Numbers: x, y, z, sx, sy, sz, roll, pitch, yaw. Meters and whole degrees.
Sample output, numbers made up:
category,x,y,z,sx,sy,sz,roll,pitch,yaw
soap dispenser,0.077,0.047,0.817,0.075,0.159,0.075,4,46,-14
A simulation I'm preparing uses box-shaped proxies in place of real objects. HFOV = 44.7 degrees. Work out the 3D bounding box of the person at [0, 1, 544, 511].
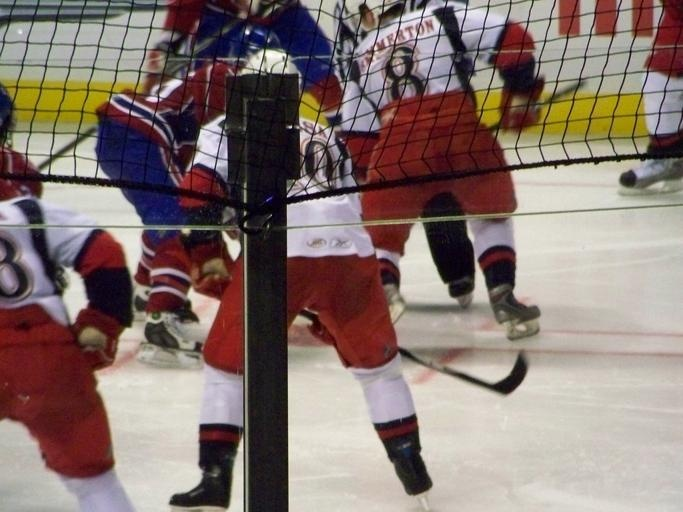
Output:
category,x,y,z,sx,sy,sz,roll,pitch,yaw
person,-0.413,0.003,2.468,1.120,1.412,0.668,1,4,18

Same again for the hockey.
category,x,y,z,sx,sy,sz,roll,pitch,yaw
hockey,0.050,0.181,2.071,0.786,0.228,0.068,18,-8,-2
